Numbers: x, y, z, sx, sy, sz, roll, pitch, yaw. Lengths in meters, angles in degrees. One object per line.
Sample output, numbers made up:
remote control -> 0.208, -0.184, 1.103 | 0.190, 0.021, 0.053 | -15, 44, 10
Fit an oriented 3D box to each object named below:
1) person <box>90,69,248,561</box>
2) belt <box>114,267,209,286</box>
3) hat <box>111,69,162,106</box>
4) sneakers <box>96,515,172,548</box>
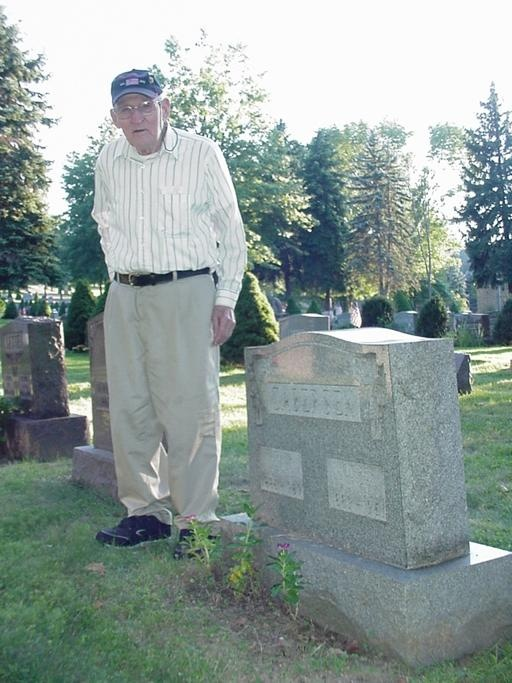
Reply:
person -> -0.409, -0.112, 3.335 | 0.713, 2.088, 0.446 | -1, 3, 8
belt -> -0.409, -0.272, 3.260 | 0.416, 0.076, 0.174 | -2, 3, -5
hat -> -0.492, -1.068, 3.101 | 0.221, 0.160, 0.250 | -2, 3, -16
sneakers -> -0.566, 0.863, 3.444 | 0.333, 0.174, 0.127 | 7, -8, -29
